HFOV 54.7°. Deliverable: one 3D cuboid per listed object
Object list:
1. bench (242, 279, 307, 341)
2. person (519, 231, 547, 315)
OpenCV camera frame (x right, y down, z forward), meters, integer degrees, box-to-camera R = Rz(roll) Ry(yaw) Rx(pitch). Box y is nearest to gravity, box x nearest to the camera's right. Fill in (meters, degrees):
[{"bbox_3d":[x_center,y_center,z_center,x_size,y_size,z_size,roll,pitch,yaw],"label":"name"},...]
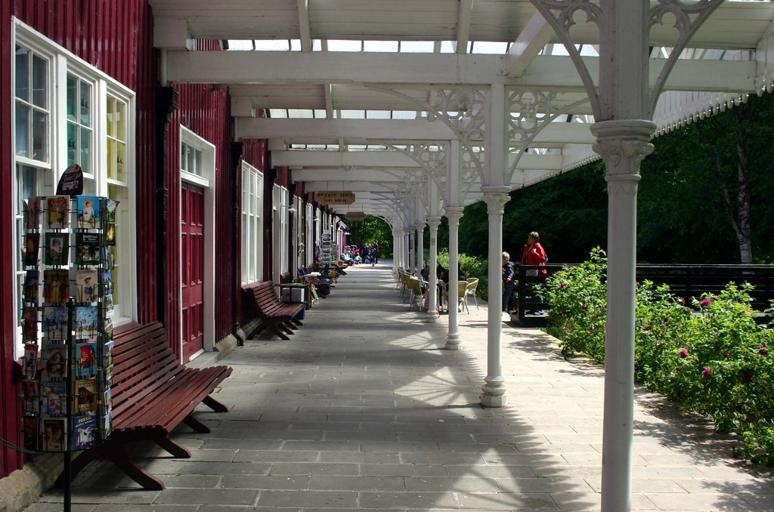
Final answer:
[{"bbox_3d":[-2.121,0.976,14.646,0.878,0.954,2.359,1,2,0],"label":"bench"},{"bbox_3d":[3.012,0.367,15.393,0.576,1.662,0.921,-1,0,12],"label":"person"}]
